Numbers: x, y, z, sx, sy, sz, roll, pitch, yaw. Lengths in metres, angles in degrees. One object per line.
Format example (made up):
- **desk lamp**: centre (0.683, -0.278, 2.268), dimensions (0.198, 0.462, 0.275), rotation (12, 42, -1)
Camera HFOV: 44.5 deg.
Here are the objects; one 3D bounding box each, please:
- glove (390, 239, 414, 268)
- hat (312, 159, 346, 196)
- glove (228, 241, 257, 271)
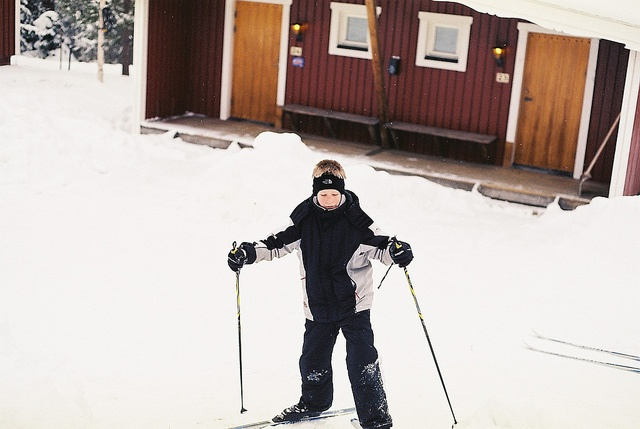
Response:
- **glove**: centre (0.867, 0.381, 8.339), dimensions (0.214, 0.315, 0.116), rotation (-10, 3, 4)
- **hat**: centre (0.103, -0.405, 8.322), dimensions (0.307, 0.372, 0.362), rotation (-1, -2, 0)
- **glove**: centre (-0.844, 0.442, 8.503), dimensions (0.239, 0.341, 0.151), rotation (-1, 25, -8)
